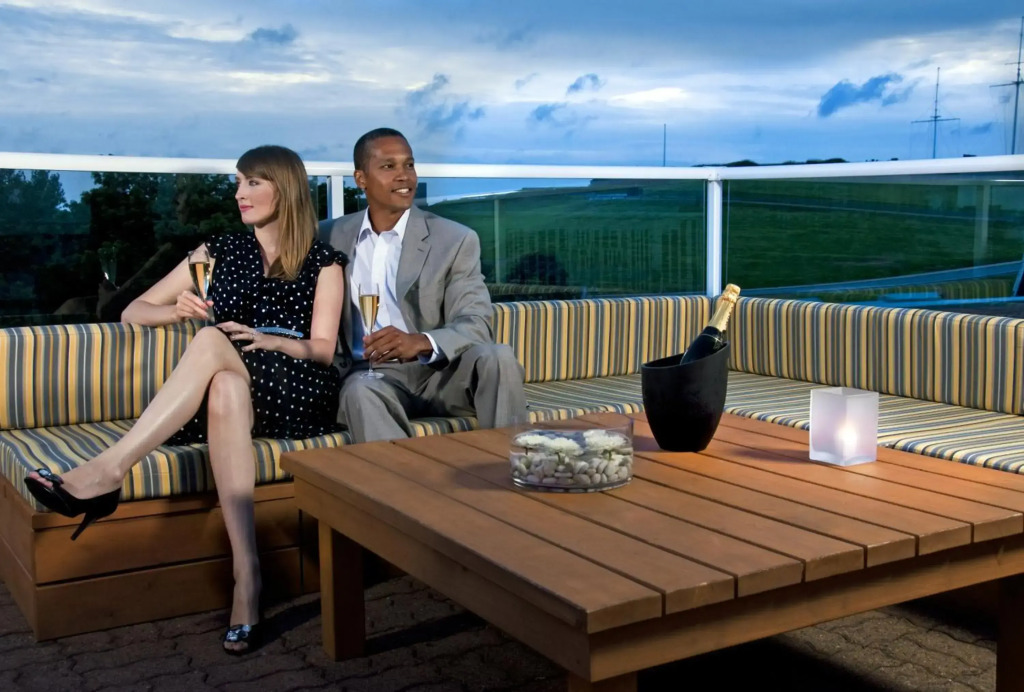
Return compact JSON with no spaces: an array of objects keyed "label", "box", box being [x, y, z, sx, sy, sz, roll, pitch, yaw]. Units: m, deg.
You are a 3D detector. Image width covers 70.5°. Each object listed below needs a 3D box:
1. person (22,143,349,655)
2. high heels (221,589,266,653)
[{"label":"person","box":[-0.979,0.069,2.448,0.689,1.504,1.083,-2,11,3]},{"label":"high heels","box":[-0.795,0.831,2.162,0.077,0.051,0.203,-1,1,-8]}]
